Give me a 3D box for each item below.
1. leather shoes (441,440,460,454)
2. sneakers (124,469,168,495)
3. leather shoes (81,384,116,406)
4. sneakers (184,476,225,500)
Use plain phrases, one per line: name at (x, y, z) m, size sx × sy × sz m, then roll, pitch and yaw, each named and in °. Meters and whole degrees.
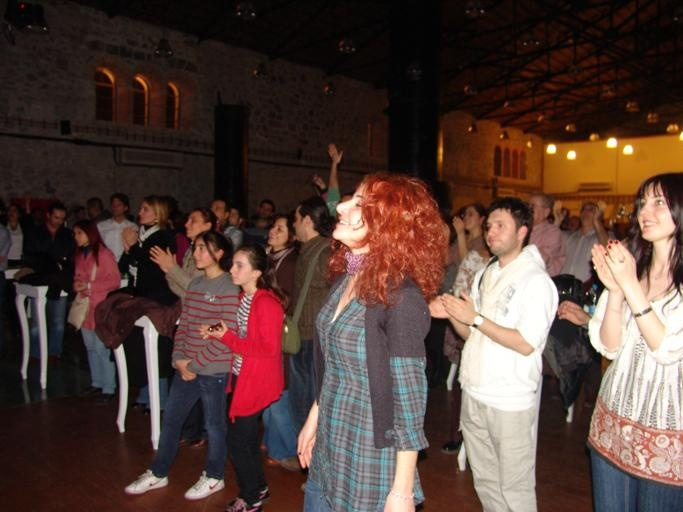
leather shoes at (0.937, 1.645, 4.948) m, size 0.158 × 0.070 × 0.079 m, roll 15°, pitch -12°, yaw -33°
sneakers at (-1.465, 1.707, 4.374) m, size 0.373 × 0.172 × 0.125 m, roll 7°, pitch 6°, yaw -30°
leather shoes at (-2.511, 1.411, 5.846) m, size 0.360 × 0.163 × 0.148 m, roll 17°, pitch 7°, yaw 9°
sneakers at (-1.015, 1.716, 4.302) m, size 0.299 × 0.140 × 0.117 m, roll 8°, pitch -1°, yaw -45°
